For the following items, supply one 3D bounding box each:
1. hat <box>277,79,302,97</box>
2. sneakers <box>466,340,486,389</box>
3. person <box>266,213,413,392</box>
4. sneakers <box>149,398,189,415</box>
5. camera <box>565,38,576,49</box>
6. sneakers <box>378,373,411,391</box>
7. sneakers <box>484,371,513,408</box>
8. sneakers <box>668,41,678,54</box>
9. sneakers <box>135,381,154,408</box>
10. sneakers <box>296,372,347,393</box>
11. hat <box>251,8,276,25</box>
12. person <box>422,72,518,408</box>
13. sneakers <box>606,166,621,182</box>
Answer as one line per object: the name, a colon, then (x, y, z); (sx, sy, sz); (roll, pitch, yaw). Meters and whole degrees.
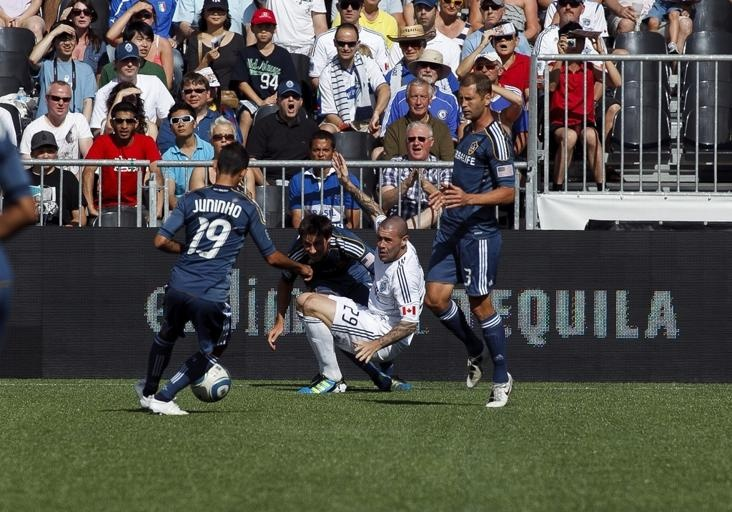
hat: (-0.889, -1.955, 16.878); (0.177, 0.216, 0.259); (0, -11, -8)
sneakers: (1.077, 1.084, 14.062); (0.173, 0.486, 0.150); (4, 9, -16)
person: (-0.275, 0.547, 14.352); (1.430, 2.241, 1.107); (-11, 9, -33)
sneakers: (-1.809, 1.379, 13.140); (0.373, 0.199, 0.140); (5, 14, -13)
camera: (2.337, -2.410, 16.402); (0.115, 0.093, 0.062); (4, 18, 0)
sneakers: (0.264, 1.269, 14.553); (0.380, 0.192, 0.147); (2, 5, -12)
sneakers: (1.247, 1.265, 13.524); (0.225, 0.319, 0.193); (1, 9, 2)
sneakers: (3.949, -2.659, 18.518); (0.122, 0.161, 0.391); (-1, 2, 1)
sneakers: (-2.029, 1.296, 13.234); (0.110, 0.329, 0.136); (-2, -26, -18)
sneakers: (-0.440, 1.265, 14.314); (0.476, 0.226, 0.182); (2, -4, -8)
hat: (-1.289, -3.034, 18.323); (0.293, 0.191, 0.439); (-1, 11, -6)
person: (0.991, -0.141, 13.568); (0.801, 3.122, 0.937); (-5, 10, -33)
sneakers: (2.665, -0.871, 15.519); (0.122, 0.171, 0.421); (1, 7, 17)
